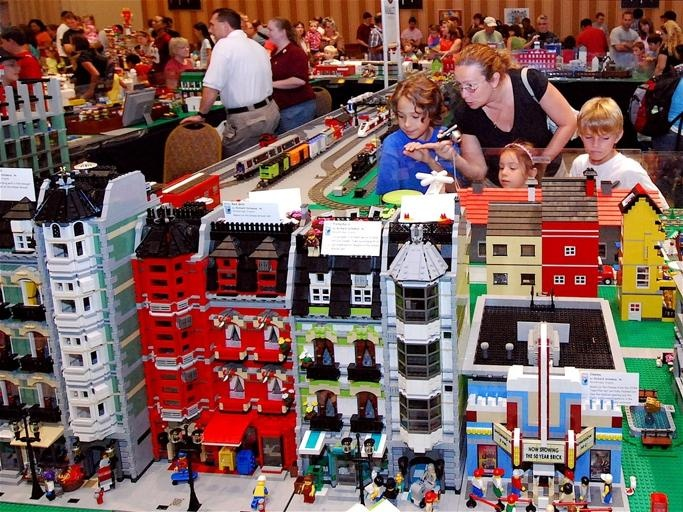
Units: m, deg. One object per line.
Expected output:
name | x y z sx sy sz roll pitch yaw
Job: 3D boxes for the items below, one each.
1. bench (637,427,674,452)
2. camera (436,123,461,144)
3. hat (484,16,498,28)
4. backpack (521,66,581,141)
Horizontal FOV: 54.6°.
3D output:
bench | 2.539 1.481 5.371 0.164 0.070 0.194 -1 26 12
camera | 1.235 -1.393 7.563 0.230 0.113 0.221 -36 9 15
hat | 4.854 -7.664 21.714 0.287 0.365 0.689 2 13 17
backpack | 2.609 -1.877 8.222 1.035 0.875 0.380 -10 14 -34
